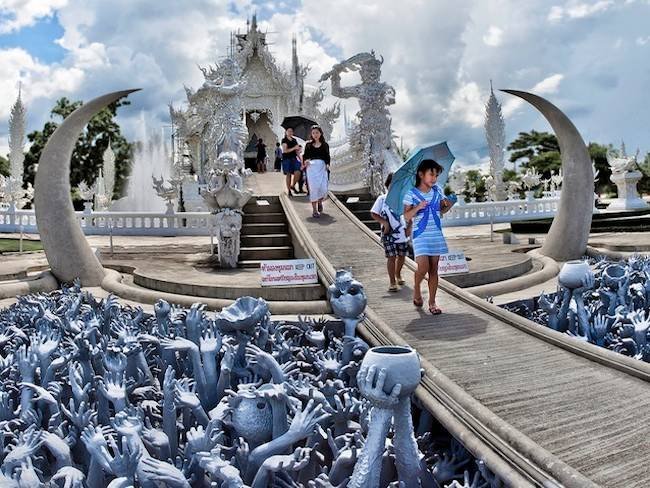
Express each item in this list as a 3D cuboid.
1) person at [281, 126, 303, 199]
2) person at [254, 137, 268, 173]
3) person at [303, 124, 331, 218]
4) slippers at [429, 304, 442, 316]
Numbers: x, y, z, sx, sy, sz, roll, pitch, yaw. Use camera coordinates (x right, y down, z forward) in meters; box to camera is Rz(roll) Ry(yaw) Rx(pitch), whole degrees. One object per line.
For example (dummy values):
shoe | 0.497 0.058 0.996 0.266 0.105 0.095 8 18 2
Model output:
person | -0.736 -1.895 11.286 0.470 1.600 0.444 -2 5 -5
person | -2.673 -3.723 20.588 0.301 1.401 1.010 -4 6 -7
person | -0.145 -1.392 9.487 0.498 1.746 0.893 -4 6 -2
slippers | 1.258 0.747 5.520 0.066 0.064 0.155 -2 1 -5
